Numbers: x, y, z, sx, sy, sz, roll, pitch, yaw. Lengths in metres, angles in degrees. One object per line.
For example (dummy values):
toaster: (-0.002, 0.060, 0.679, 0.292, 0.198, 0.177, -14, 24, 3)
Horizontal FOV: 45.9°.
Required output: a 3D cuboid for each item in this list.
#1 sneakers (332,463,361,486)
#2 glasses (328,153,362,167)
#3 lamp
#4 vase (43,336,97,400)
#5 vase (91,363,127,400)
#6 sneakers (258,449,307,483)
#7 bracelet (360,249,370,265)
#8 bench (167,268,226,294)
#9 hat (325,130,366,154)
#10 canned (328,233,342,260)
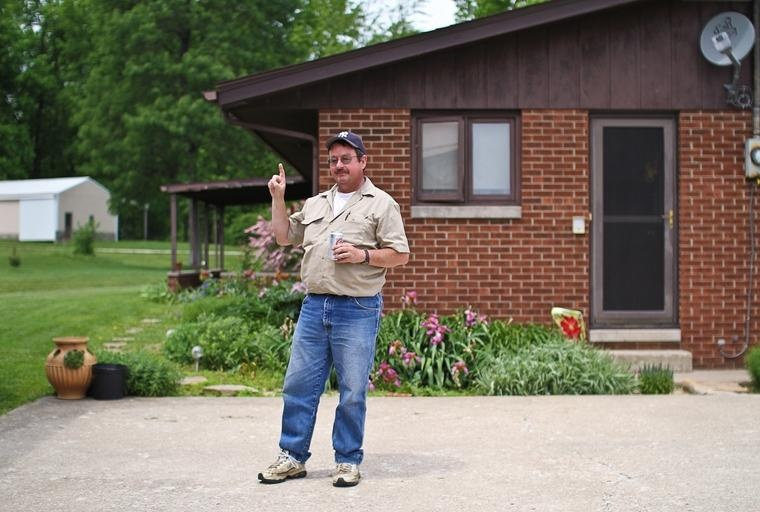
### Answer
sneakers: (-0.340, 2.319, 9.684, 0.355, 0.221, 0.255, -4, 11, -18)
glasses: (-0.346, -1.031, 9.822, 0.174, 0.109, 0.247, 0, 2, 23)
lamp: (5.726, -3.178, 14.672, 0.950, 1.534, 0.341, -3, 10, -12)
vase: (-4.196, 1.503, 12.231, 0.645, 0.857, 0.343, -4, 11, -19)
vase: (-3.690, 1.708, 12.246, 0.395, 0.391, 0.505, 1, -6, -4)
sneakers: (-1.078, 2.290, 9.800, 0.515, 0.286, 0.246, 4, -6, -31)
bracelet: (-0.182, 0.013, 9.653, 0.094, 0.147, 0.126, -1, 1, -32)
bench: (-4.522, 0.526, 21.444, 0.420, 0.592, 1.623, 2, 11, 12)
hat: (-0.372, -1.226, 9.803, 0.390, 0.236, 0.229, -2, 10, -6)
canned: (-0.495, -0.111, 9.623, 0.151, 0.267, 0.152, 4, 11, 22)
